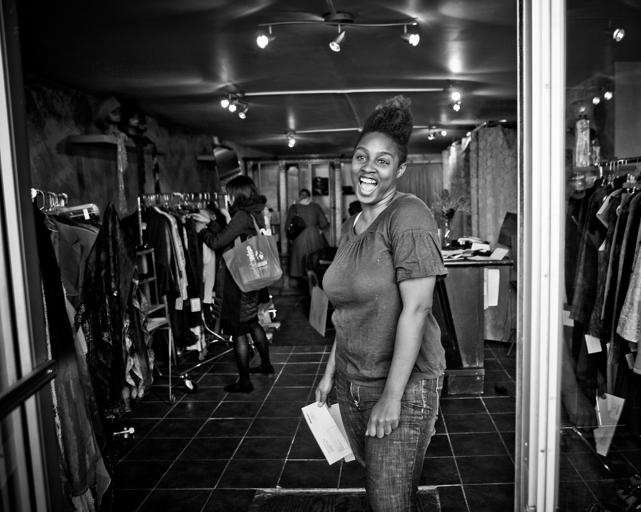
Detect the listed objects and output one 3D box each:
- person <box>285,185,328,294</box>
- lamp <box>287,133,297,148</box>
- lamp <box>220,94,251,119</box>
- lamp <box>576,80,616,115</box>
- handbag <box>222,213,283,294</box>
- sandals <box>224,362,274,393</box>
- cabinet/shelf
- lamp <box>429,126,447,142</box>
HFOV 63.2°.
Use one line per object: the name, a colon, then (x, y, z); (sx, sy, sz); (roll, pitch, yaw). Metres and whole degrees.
person: (-0.267, -0.425, 9.858); (0.734, 1.841, 0.602); (-11, 32, -15)
lamp: (-0.488, -1.976, 8.910); (0.189, 0.093, 0.266); (-1, 0, -6)
lamp: (-0.908, -1.617, 5.533); (0.267, 0.111, 0.270); (19, 13, -2)
lamp: (1.201, -0.723, 2.296); (0.168, 0.087, 0.236); (-3, 20, 5)
handbag: (-0.596, -0.055, 4.535); (0.472, 0.747, 0.220); (-16, -19, -9)
sandals: (-0.649, 1.122, 4.728); (0.481, 0.225, 0.161); (-1, 0, 7)
cabinet/shelf: (-1.440, 0.520, 4.594); (0.289, 1.240, 1.128); (-3, 6, -17)
lamp: (1.947, -2.059, 8.717); (0.229, 0.112, 0.325); (-2, 6, -9)
